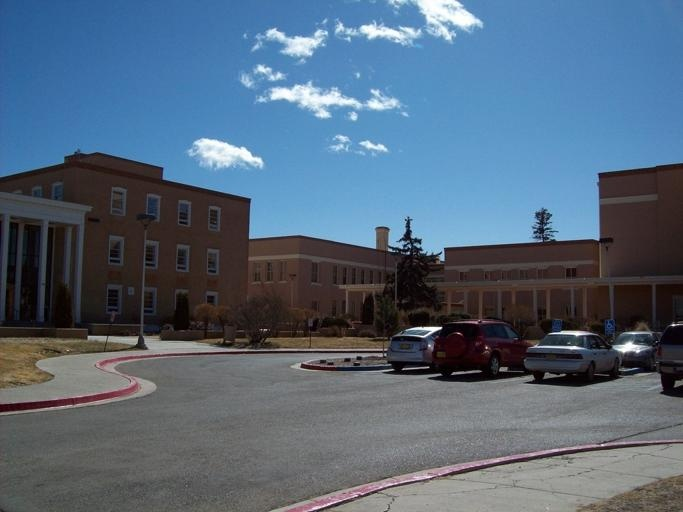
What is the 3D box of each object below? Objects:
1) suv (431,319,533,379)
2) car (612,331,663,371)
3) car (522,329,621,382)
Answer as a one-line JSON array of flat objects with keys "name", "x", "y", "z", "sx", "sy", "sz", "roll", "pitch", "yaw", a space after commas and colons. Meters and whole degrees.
[{"name": "suv", "x": 4.893, "y": 3.240, "z": 20.728, "sx": 1.668, "sy": 1.492, "sz": 3.494, "roll": -5, "pitch": -4, "yaw": 40}, {"name": "car", "x": 12.046, "y": 3.909, "z": 23.875, "sx": 1.475, "sy": 1.317, "sz": 3.716, "roll": -5, "pitch": -12, "yaw": 30}, {"name": "car", "x": 7.644, "y": 3.274, "z": 19.415, "sx": 3.360, "sy": 1.572, "sz": 1.481, "roll": 6, "pitch": -9, "yaw": -33}]
